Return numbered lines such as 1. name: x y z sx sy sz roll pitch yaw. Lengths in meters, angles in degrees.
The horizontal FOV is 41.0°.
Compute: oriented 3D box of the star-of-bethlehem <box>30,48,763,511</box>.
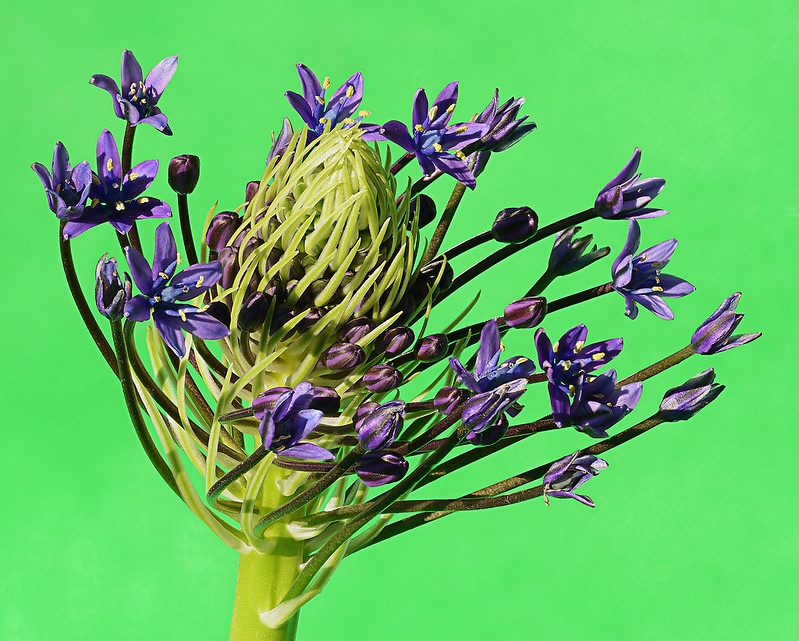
1. star-of-bethlehem: -0.056 -0.040 2.169 1.258 0.865 0.958 -10 -48 4
